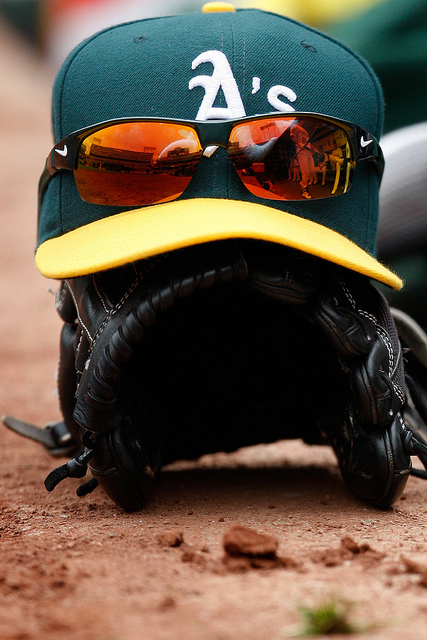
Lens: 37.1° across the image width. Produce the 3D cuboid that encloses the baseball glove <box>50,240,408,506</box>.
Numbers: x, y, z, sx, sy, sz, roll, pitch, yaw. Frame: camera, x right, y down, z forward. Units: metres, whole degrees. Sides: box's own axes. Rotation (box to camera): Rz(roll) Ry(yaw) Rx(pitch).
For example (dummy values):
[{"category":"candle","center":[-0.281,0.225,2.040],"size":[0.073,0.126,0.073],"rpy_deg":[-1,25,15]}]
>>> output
[{"category":"baseball glove","center":[0.041,0.098,1.058],"size":[0.516,0.508,0.366],"rpy_deg":[-4,26,3]}]
